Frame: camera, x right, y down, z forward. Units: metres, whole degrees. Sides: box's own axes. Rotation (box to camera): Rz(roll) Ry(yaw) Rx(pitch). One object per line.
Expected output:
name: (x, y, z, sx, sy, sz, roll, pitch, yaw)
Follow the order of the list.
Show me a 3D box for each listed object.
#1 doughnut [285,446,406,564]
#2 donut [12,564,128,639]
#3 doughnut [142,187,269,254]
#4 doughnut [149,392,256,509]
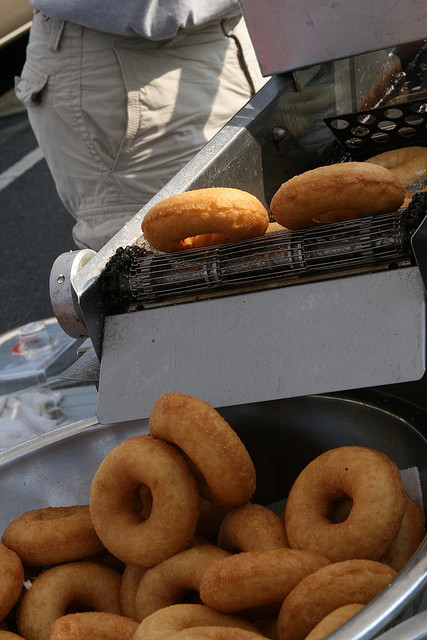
doughnut: (0.094, 0.138, 0.491, 0.092, 0.054, 0.084, -10, 38, 17)
donut: (-0.107, 0.218, 0.525, 0.058, 0.055, 0.020, -17, 30, 13)
doughnut: (-0.028, -0.092, 0.697, 0.087, 0.088, 0.034, 36, 94, 28)
doughnut: (-0.009, 0.096, 0.541, 0.092, 0.089, 0.034, 12, 54, 31)
